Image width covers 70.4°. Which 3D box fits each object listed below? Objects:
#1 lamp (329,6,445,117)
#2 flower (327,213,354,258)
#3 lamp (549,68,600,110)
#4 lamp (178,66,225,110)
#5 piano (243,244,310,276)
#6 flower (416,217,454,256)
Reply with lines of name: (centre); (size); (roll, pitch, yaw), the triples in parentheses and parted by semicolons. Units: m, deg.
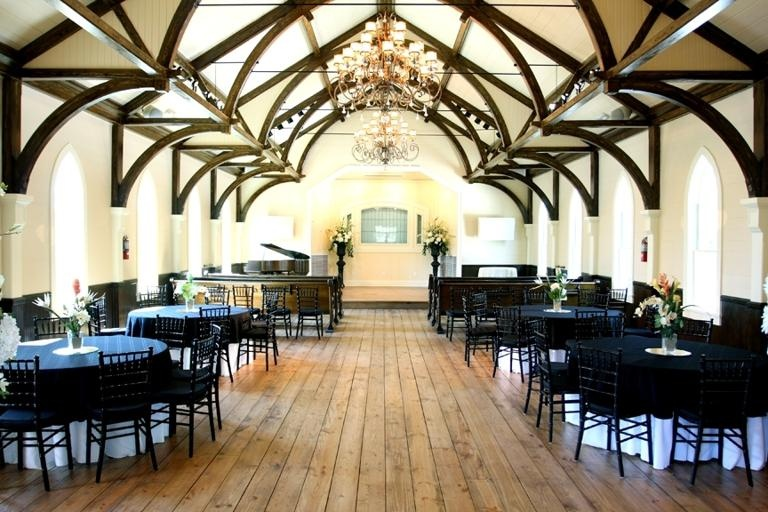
lamp: (0.060, -3.412, 9.397); (1.592, 2.257, 1.633); (2, -5, -15)
flower: (-1.400, -0.776, 19.300); (1.106, 1.928, 1.328); (1, -4, -8)
lamp: (3.641, -3.190, 10.453); (0.487, 0.532, 1.678); (8, 35, 38)
lamp: (-3.650, -3.349, 10.919); (0.736, 0.796, 3.732); (-3, 13, -16)
piano: (-2.975, 0.062, 15.220); (1.566, 0.916, 2.886); (0, 13, -2)
flower: (1.834, -0.679, 19.020); (1.145, 1.618, 1.172); (-2, 3, -12)
